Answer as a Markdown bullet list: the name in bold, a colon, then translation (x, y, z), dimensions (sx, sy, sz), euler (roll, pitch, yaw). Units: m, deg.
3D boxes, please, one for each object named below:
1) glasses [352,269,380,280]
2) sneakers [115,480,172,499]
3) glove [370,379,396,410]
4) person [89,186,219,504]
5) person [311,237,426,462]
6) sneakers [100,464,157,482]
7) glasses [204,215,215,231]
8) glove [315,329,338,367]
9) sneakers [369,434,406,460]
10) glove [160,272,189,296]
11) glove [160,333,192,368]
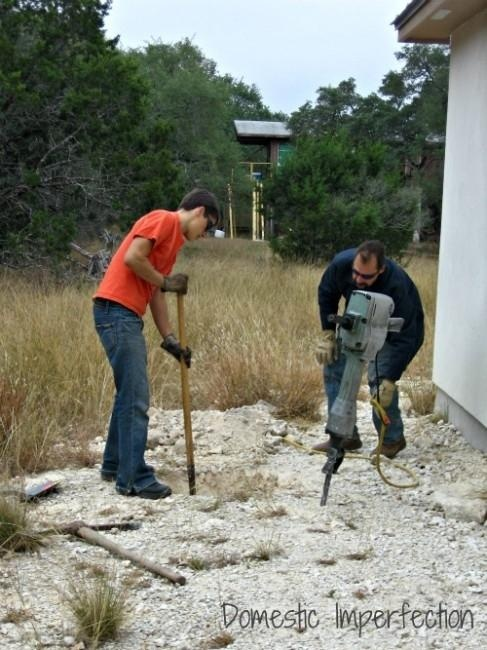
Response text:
- **glasses**: translation (0.699, -0.287, 4.634), dimensions (0.137, 0.056, 0.096), euler (4, 11, 10)
- **sneakers**: translation (-0.552, 0.936, 4.524), dimensions (0.316, 0.133, 0.106), euler (-2, 5, 1)
- **glove**: translation (0.850, 0.426, 4.893), dimensions (0.129, 0.180, 0.319), euler (4, 11, 11)
- **person**: translation (-0.518, 0.131, 4.619), dimensions (0.560, 1.815, 0.527), euler (-8, 14, -41)
- **person**: translation (0.741, 0.199, 5.084), dimensions (0.669, 1.501, 0.906), euler (8, 12, 29)
- **sneakers**: translation (-0.669, 0.851, 4.601), dimensions (0.331, 0.137, 0.109), euler (-3, 17, -1)
- **glasses**: translation (-0.195, -0.587, 4.633), dimensions (0.057, 0.073, 0.065), euler (-3, 45, 0)
- **glove**: translation (0.533, 0.148, 5.145), dimensions (0.129, 0.086, 0.204), euler (8, 45, 15)
- **sneakers**: translation (0.985, 0.820, 5.388), dimensions (0.273, 0.118, 0.096), euler (-6, 14, -27)
- **glove**: translation (-0.404, -0.218, 4.589), dimensions (0.142, 0.065, 0.120), euler (17, 41, -19)
- **glove**: translation (-0.402, 0.156, 4.825), dimensions (0.228, 0.097, 0.134), euler (42, 48, -1)
